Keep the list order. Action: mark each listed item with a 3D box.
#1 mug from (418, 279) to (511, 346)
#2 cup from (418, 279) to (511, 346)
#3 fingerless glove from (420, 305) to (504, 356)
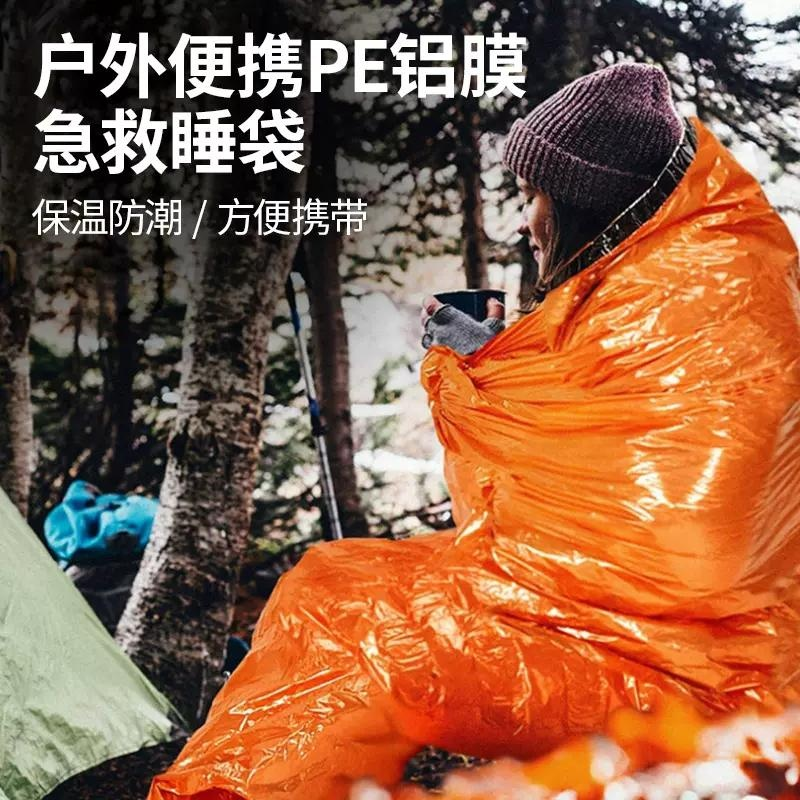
[{"bbox_3d":[0.167,-0.194,3.520,0.198,0.175,0.190,-3,-8,26],"label":"mug"},{"bbox_3d":[0.176,-0.197,3.521,0.198,0.175,0.190,0,-7,0],"label":"cup"},{"bbox_3d":[0.147,-0.162,3.354,0.172,0.093,0.106,11,36,8],"label":"fingerless glove"}]
